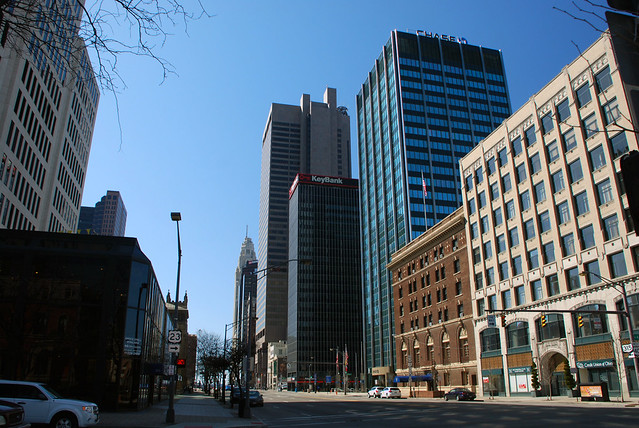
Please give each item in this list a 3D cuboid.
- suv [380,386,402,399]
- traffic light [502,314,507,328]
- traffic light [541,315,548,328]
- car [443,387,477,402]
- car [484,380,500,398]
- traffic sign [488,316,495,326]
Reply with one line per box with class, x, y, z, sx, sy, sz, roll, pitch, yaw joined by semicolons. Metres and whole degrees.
suv;11.583;29.285;84.828;1.637;1.809;4.806;6;-23;-15
traffic light;19.673;11.308;55.190;0.284;1.124;0.886;-3;-21;6
traffic light;23.057;10.835;53.145;0.364;1.154;1.622;-8;-23;19
car;18.468;23.717;68.077;1.784;1.660;4.127;8;-24;-20
car;24.085;24.252;72.697;1.116;2.711;2.417;7;-22;-19
traffic sign;22.019;13.589;66.048;1.392;1.317;0.215;11;-9;-28
